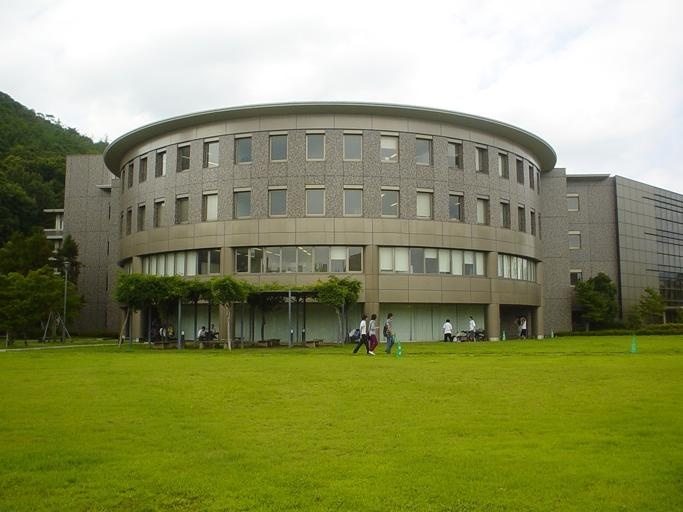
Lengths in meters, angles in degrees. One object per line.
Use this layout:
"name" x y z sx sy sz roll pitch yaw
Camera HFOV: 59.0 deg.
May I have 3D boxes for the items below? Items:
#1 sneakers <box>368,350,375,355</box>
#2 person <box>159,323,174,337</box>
"sneakers" 1.506 4.897 30.427 0.407 0.186 0.144 -1 -7 4
"person" -12.270 5.214 42.295 0.743 0.760 0.762 -23 -30 34
